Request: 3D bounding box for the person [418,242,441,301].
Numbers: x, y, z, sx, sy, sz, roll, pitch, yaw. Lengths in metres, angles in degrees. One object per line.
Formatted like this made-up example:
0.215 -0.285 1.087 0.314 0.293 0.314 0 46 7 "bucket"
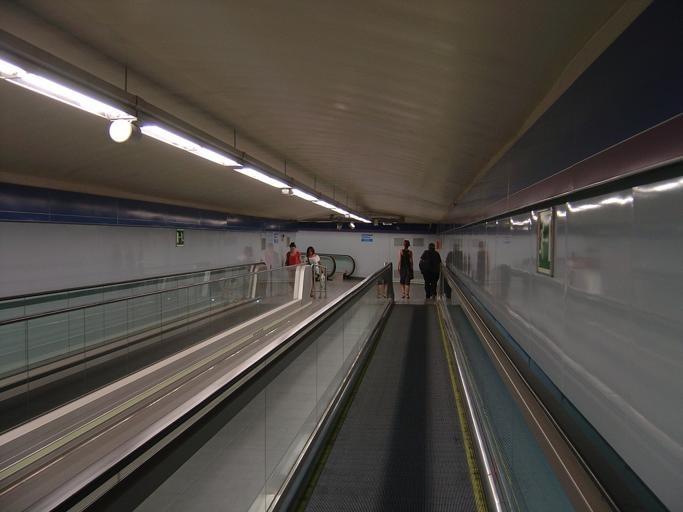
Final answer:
3.330 0.573 14.150 0.711 2.102 1.145 -3 3 13 "person"
